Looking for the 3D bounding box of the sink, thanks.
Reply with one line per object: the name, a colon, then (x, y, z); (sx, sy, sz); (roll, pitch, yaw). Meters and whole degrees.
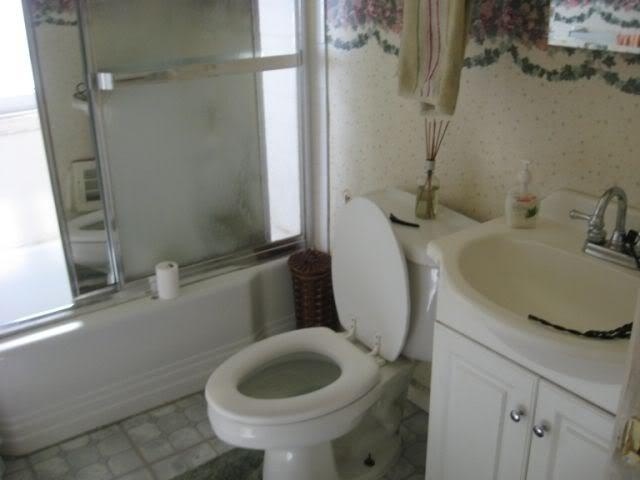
sink: (0.567, 0.127, 1.359); (0.331, 0.466, 0.373); (-19, 35, -28)
